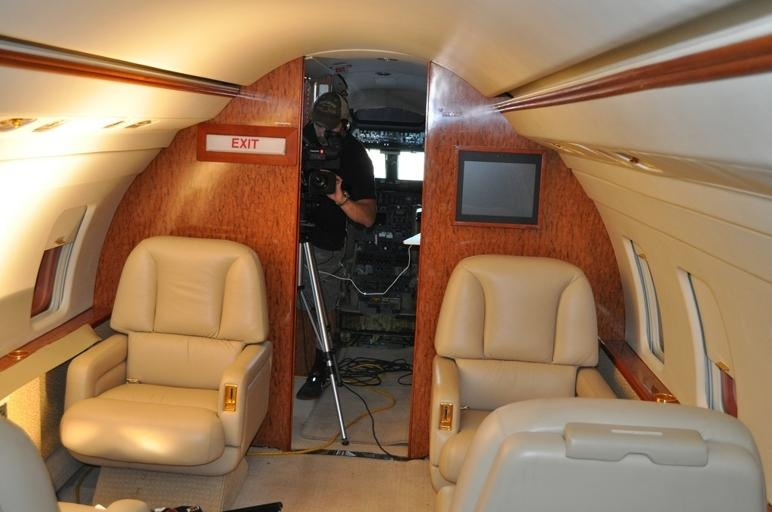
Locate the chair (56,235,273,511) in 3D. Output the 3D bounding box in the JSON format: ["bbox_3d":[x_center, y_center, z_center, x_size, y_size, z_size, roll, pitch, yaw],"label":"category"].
[{"bbox_3d":[-1.406,0.602,3.383,1.130,1.397,0.808,4,5,5],"label":"chair"}]

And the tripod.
[{"bbox_3d":[-0.498,0.566,4.279,0.449,1.717,0.676,3,5,-9],"label":"tripod"}]

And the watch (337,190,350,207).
[{"bbox_3d":[-0.315,-0.438,3.983,0.089,0.106,0.037,-2,-12,1],"label":"watch"}]

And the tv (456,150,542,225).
[{"bbox_3d":[0.824,-0.508,3.744,0.493,0.442,0.036,4,3,2],"label":"tv"}]

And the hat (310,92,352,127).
[{"bbox_3d":[-0.372,-1.065,3.768,0.195,0.275,0.271,19,34,39],"label":"hat"}]
